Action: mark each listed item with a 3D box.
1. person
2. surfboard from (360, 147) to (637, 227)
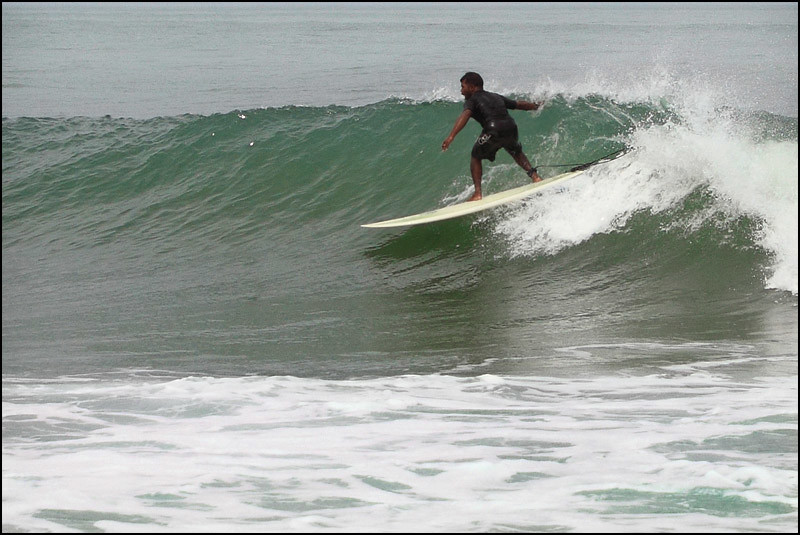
[{"bbox_3d":[1.353,-1.860,12.400,1.258,1.813,0.762,1,11,-3],"label":"person"},{"bbox_3d":[1.822,-1.304,14.418,4.883,0.306,0.587,-13,22,17],"label":"surfboard"}]
